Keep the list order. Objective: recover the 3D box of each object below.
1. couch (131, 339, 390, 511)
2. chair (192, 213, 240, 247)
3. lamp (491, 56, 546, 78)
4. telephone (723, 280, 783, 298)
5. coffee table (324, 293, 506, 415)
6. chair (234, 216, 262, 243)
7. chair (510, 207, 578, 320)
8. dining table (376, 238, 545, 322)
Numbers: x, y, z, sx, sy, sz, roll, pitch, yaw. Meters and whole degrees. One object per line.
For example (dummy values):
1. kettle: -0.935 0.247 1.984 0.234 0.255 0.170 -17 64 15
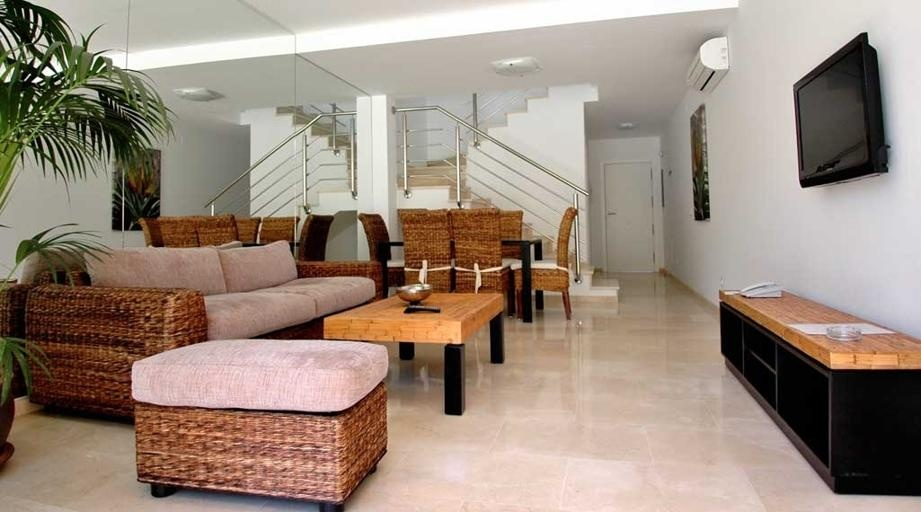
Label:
1. couch: -1.098 0.779 3.972 1.467 0.793 1.036 0 3 14
2. chair: -2.371 -0.245 5.884 0.305 0.352 0.305 -1 4 -28
3. lamp: 0.696 -2.346 7.568 0.591 0.117 0.532 0 5 15
4. telephone: 2.422 0.278 4.917 0.287 0.077 0.204 2 1 17
5. coffee table: -0.405 0.559 4.759 0.977 0.462 1.296 1 3 19
6. chair: -2.150 -0.250 6.139 0.259 0.265 0.232 1 8 -4
7. chair: 1.072 0.060 7.565 0.678 1.296 1.437 -1 5 9
8. dining table: 0.371 0.168 7.563 2.042 1.112 1.062 0 0 22
